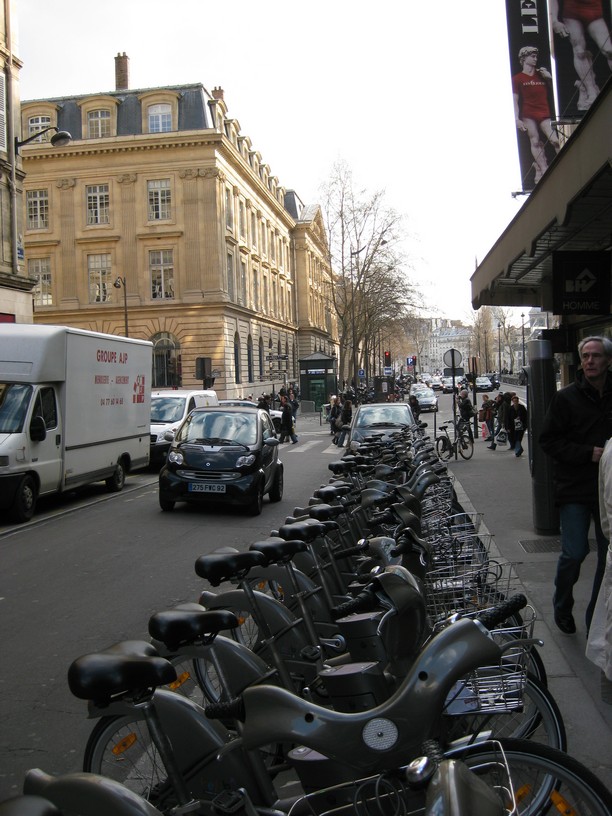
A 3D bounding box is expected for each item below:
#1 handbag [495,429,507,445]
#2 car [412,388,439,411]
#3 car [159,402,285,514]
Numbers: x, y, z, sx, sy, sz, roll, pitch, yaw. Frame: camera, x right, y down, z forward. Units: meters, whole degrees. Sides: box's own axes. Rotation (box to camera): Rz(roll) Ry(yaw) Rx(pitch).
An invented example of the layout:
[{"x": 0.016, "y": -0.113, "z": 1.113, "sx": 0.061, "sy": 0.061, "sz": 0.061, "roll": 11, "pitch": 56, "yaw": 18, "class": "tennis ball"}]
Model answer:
[{"x": 7.196, "y": 1.082, "z": 22.955, "sx": 0.484, "sy": 0.736, "sz": 0.709, "roll": 2, "pitch": 6, "yaw": 11, "class": "handbag"}, {"x": 9.468, "y": -0.557, "z": 48.766, "sx": 1.791, "sy": 1.542, "sz": 4.029, "roll": -8, "pitch": 1, "yaw": 7, "class": "car"}, {"x": -1.464, "y": 0.918, "z": 12.611, "sx": 1.574, "sy": 1.341, "sz": 2.488, "roll": -1, "pitch": -6, "yaw": 7, "class": "car"}]
